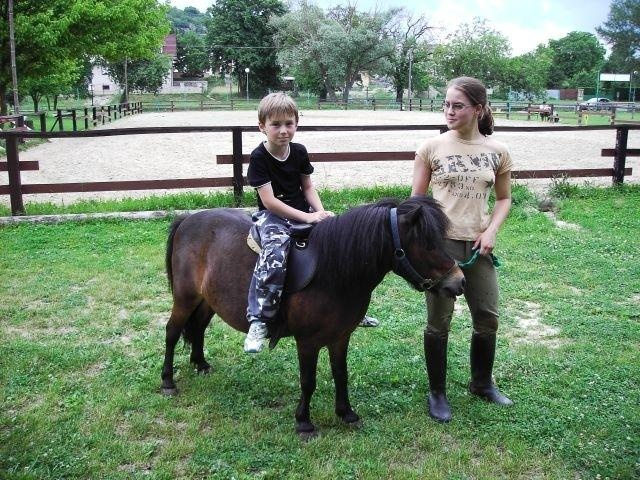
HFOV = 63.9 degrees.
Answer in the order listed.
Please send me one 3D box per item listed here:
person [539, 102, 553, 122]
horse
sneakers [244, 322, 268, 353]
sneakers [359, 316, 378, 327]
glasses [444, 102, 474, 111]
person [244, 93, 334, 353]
[{"bbox_3d":[15.117,-8.676,34.374,0.813,1.248,3.066,4,12,23],"label":"person"},{"bbox_3d":[-0.253,0.528,3.957,2.629,1.788,0.760,8,16,29],"label":"horse"},{"bbox_3d":[-0.427,0.657,3.463,0.146,0.248,0.227,-1,11,-6],"label":"sneakers"},{"bbox_3d":[0.414,0.676,4.264,0.127,0.095,0.210,0,-11,-5],"label":"sneakers"},{"bbox_3d":[0.978,-0.951,3.648,0.197,0.066,0.080,4,11,19],"label":"glasses"},{"bbox_3d":[-0.283,-0.132,3.579,0.716,1.773,0.512,-6,12,-29],"label":"person"}]
